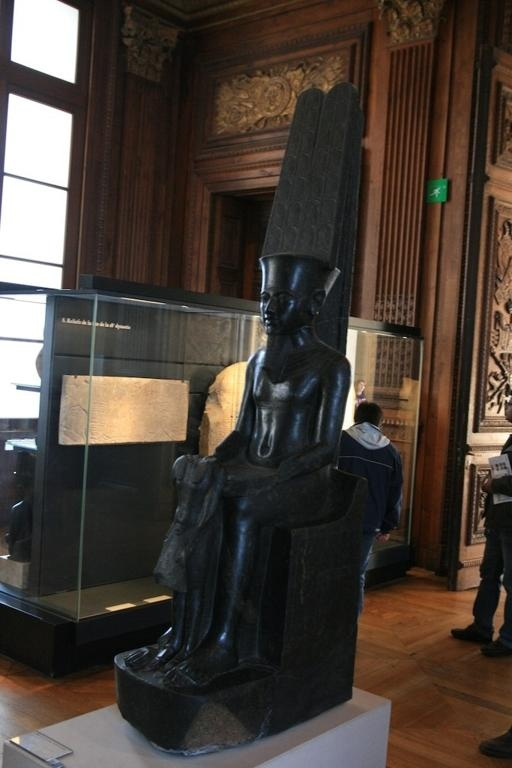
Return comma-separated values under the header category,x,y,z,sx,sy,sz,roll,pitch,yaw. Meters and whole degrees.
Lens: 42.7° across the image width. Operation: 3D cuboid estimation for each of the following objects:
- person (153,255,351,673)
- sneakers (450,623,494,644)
category,x,y,z,sx,sy,sz,roll,pitch,yaw
person,-0.007,0.152,1.574,0.295,0.984,0.542,5,-1,33
sneakers,1.161,1.354,3.560,0.225,0.090,0.083,9,9,37
